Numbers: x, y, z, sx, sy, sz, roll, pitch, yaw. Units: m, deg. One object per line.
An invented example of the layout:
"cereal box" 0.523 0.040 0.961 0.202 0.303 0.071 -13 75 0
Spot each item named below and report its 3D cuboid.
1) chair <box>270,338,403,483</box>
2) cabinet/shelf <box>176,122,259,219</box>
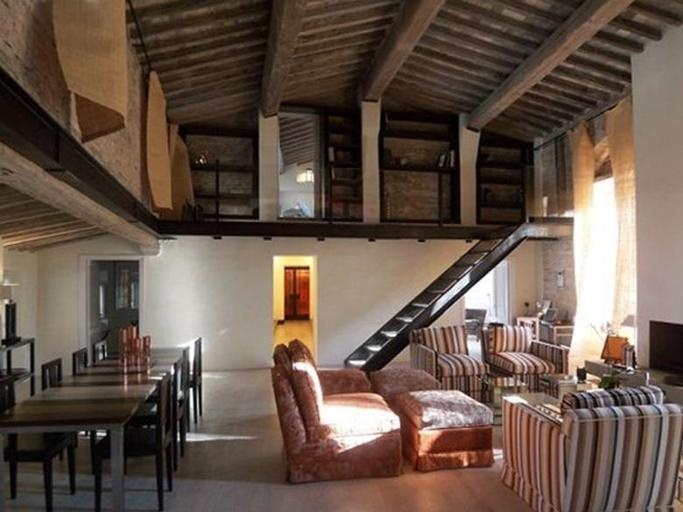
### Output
"chair" -0.110 1.793 6.348 1.280 1.032 2.104 0 -1 -9
"cabinet/shelf" -2.490 -1.687 10.813 2.015 2.042 0.681 -1 7 -9
